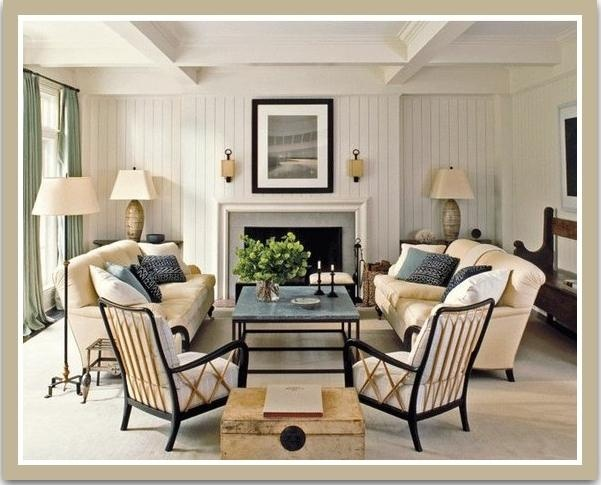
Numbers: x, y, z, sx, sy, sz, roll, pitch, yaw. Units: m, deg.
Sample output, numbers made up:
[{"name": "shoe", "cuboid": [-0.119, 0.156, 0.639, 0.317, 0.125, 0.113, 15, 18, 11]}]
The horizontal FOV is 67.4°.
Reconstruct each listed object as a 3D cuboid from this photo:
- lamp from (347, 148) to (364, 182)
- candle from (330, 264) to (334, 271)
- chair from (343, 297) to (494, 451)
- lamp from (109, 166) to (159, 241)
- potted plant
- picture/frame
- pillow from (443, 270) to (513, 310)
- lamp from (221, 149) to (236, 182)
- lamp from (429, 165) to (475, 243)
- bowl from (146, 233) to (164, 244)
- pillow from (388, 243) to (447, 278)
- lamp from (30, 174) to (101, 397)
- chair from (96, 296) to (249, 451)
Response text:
[{"name": "lamp", "cuboid": [0.743, -1.024, 6.011, 0.212, 0.455, 0.139, 0, 7, 6]}, {"name": "candle", "cuboid": [0.296, 0.245, 4.146, 0.016, 0.064, 0.061, -2, 7, -6]}, {"name": "chair", "cuboid": [0.734, 0.767, 2.875, 0.630, 0.838, 0.860, -2, 1, -25]}, {"name": "lamp", "cuboid": [-2.209, -0.513, 6.094, 0.604, 1.024, 0.567, 1, 7, 15]}, {"name": "potted plant", "cuboid": [-0.275, 0.238, 4.104, 0.601, 0.584, 0.531, 11, 15, 28]}, {"name": "picture/frame", "cuboid": [-0.129, -1.345, 6.023, 1.186, 1.323, 0.094, 1, 6, -6]}, {"name": "pillow", "cuboid": [1.326, 0.327, 3.291, 0.358, 0.262, 0.468, -24, -6, 38]}, {"name": "lamp", "cuboid": [-0.960, -1.022, 6.002, 0.192, 0.454, 0.135, -2, 7, -4]}, {"name": "lamp", "cuboid": [2.060, -0.529, 6.172, 0.541, 1.032, 0.544, 1, 7, 16]}, {"name": "bowl", "cuboid": [-1.908, -0.038, 5.992, 0.152, 0.080, 0.171, 0, -5, 1]}, {"name": "pillow", "cuboid": [1.304, 0.170, 5.130, 0.155, 0.470, 0.485, 31, -20, -37]}, {"name": "lamp", "cuboid": [-1.827, 0.291, 3.617, 0.447, 1.631, 0.833, -4, 7, -25]}, {"name": "chair", "cuboid": [-0.785, 0.765, 2.855, 0.655, 0.850, 0.767, 2, 3, 28]}]
